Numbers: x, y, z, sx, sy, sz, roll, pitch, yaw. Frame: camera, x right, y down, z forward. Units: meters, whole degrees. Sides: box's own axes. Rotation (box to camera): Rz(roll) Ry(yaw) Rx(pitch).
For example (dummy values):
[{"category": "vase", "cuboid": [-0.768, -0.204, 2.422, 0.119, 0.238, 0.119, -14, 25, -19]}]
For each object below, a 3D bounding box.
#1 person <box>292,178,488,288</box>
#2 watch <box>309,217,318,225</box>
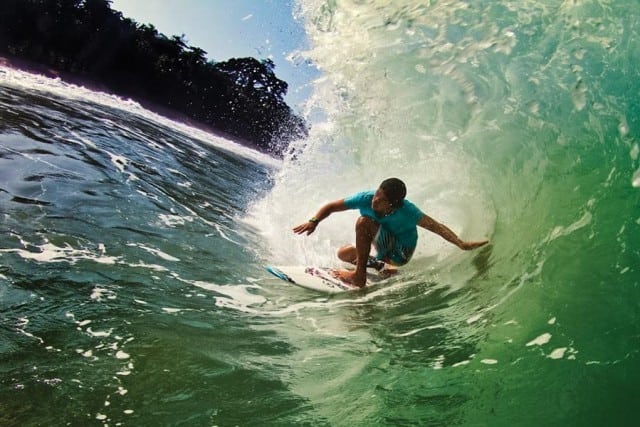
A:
[{"category": "person", "cuboid": [0.891, 0.288, 6.516, 2.812, 1.131, 1.001, 8, 7, 5]}, {"category": "watch", "cuboid": [-0.088, 0.118, 6.442, 0.138, 0.065, 0.112, 14, -24, -21]}]
